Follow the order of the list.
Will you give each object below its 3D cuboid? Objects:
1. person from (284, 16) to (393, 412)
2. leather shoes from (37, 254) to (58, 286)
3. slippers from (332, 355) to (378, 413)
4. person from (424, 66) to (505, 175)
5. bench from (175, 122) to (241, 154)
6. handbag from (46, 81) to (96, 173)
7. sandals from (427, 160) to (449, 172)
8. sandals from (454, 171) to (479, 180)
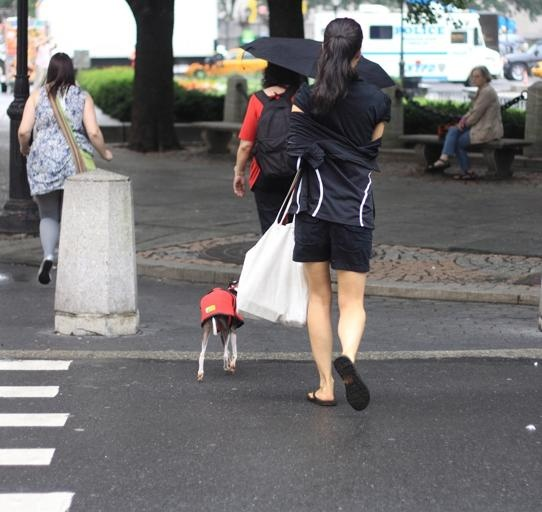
[{"bbox_3d":[0.330,-0.165,5.037,0.505,2.042,0.512,1,9,10],"label":"person"},{"bbox_3d":[-1.940,0.140,8.633,0.082,0.244,0.101,11,12,-19],"label":"leather shoes"},{"bbox_3d":[0.424,0.632,4.967,0.121,0.321,0.131,-25,5,15],"label":"slippers"},{"bbox_3d":[3.197,-2.103,15.761,0.924,1.784,0.545,2,9,12],"label":"person"},{"bbox_3d":[-1.560,-2.843,23.193,1.333,0.638,5.953,-1,10,-6],"label":"bench"},{"bbox_3d":[-1.669,-1.054,8.492,0.432,0.688,0.204,-9,13,-43],"label":"handbag"},{"bbox_3d":[2.794,-1.509,16.643,0.156,0.168,0.411,-2,2,35],"label":"sandals"},{"bbox_3d":[3.089,-1.254,15.900,0.453,0.199,0.163,5,10,9],"label":"sandals"}]
